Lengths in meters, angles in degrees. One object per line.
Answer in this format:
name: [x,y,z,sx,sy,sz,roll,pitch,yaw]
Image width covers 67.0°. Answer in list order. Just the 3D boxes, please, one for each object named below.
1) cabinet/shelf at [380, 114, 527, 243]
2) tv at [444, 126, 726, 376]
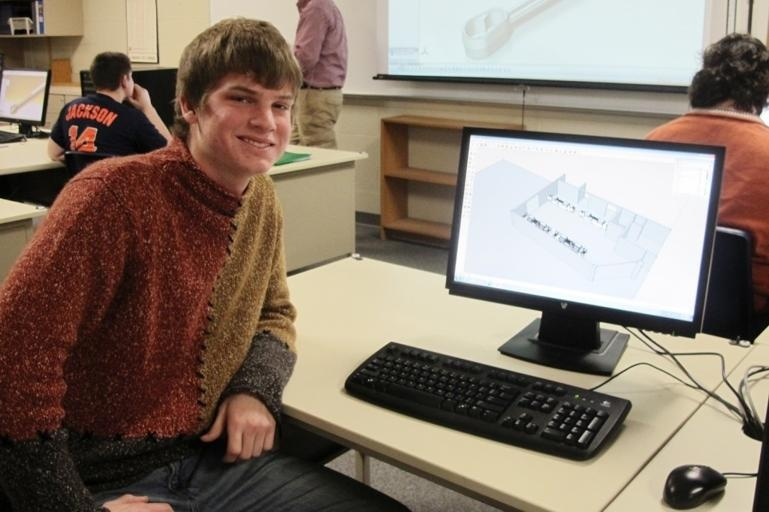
cabinet/shelf: [0.335,-0.482,3.326,0.966,0.911,0.326,13,25,26]
tv: [0.510,0.004,1.503,0.569,0.502,0.262,9,18,28]
